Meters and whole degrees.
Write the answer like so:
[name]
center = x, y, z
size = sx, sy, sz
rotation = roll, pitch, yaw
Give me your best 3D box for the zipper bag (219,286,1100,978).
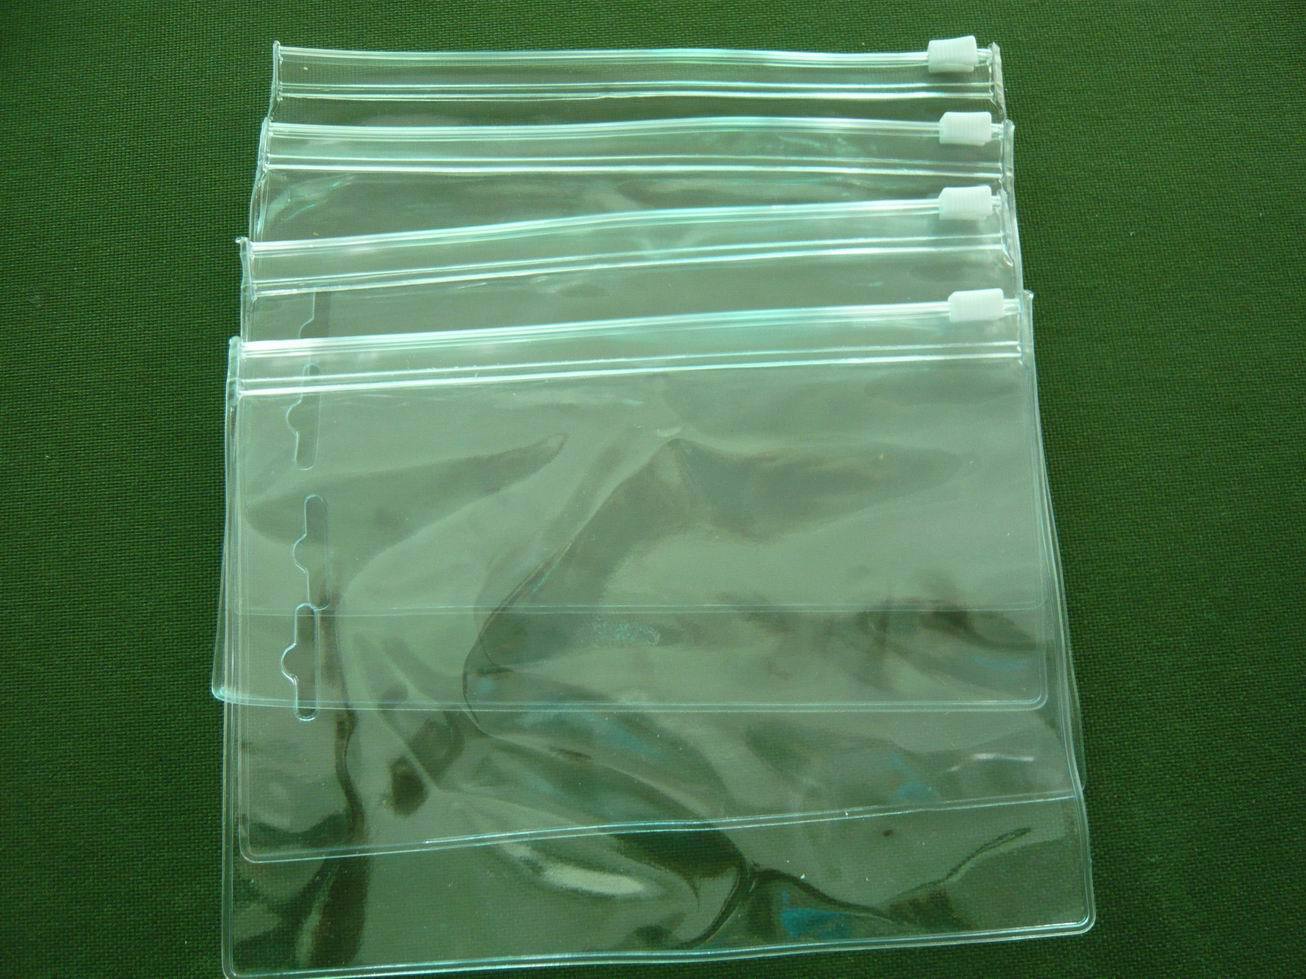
[zipper bag]
center = -0.023, 0.191, 1.968
size = 1.106, 0.131, 0.820
rotation = -4, 80, 1
